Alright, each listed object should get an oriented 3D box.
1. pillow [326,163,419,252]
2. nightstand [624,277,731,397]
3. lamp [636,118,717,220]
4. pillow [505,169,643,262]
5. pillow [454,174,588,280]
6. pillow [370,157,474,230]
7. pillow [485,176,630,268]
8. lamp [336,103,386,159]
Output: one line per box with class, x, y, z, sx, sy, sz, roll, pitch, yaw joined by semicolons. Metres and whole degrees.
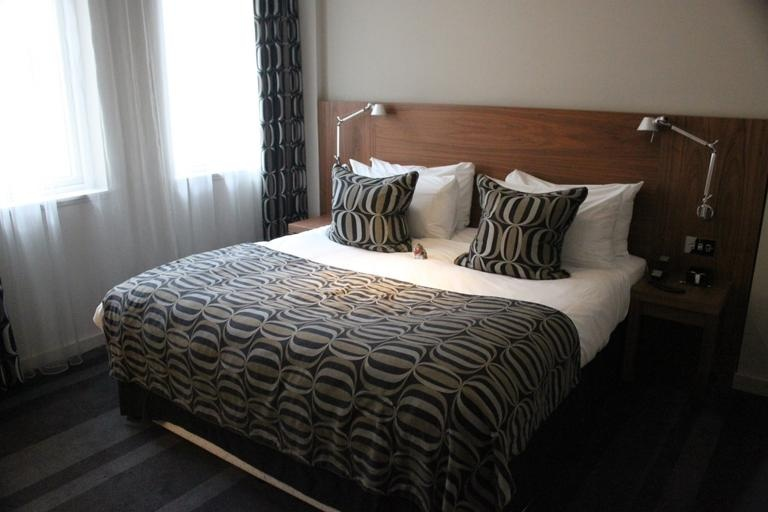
pillow;-0.107;-0.377;4.187;0.872;0.609;0.483;12;16;37
nightstand;2.017;0.467;3.838;0.725;0.766;0.753;14;37;27
lamp;2.043;-0.631;3.632;0.574;0.654;0.275;11;21;29
pillow;1.378;-0.258;3.663;0.610;0.395;0.196;18;-7;42
pillow;0.948;-0.181;3.689;0.763;0.644;0.418;12;26;32
pillow;0.328;-0.472;4.135;0.585;0.446;0.205;10;28;43
pillow;1.225;-0.211;3.622;0.618;0.419;0.217;11;12;35
lamp;-0.217;-1.136;4.817;0.612;0.530;0.177;13;22;33
